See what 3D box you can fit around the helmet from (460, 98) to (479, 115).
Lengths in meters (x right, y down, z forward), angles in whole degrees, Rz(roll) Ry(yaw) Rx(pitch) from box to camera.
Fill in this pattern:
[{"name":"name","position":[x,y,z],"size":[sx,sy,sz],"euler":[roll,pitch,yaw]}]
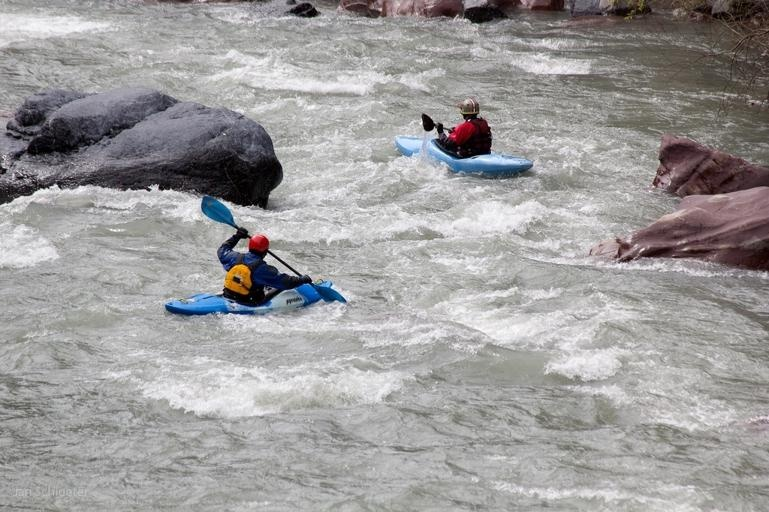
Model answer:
[{"name":"helmet","position":[1.553,-2.701,19.222],"size":[0.300,0.269,0.375],"euler":[6,23,4]}]

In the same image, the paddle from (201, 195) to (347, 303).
[{"name":"paddle","position":[-1.693,-0.055,15.982],"size":[3.274,0.387,0.158],"euler":[29,19,8]}]

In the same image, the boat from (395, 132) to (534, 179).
[{"name":"boat","position":[1.406,-1.795,19.333],"size":[3.075,0.389,0.824],"euler":[8,18,27]}]

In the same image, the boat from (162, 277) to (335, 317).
[{"name":"boat","position":[-1.883,0.640,14.879],"size":[1.799,0.195,0.801],"euler":[-2,4,-24]}]

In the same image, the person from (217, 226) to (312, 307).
[{"name":"person","position":[-1.807,0.172,14.896],"size":[1.239,0.949,0.773],"euler":[13,26,19]}]
